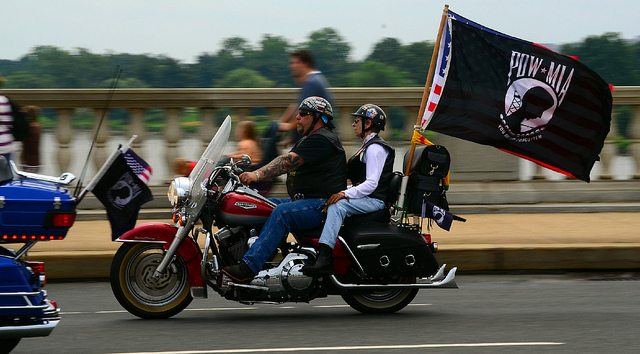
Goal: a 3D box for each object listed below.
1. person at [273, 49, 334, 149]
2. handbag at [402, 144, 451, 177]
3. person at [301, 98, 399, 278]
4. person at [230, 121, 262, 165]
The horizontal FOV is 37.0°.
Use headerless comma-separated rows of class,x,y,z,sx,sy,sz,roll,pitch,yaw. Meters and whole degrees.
person,-0.088,-1.350,17.528,0.945,1.901,1.210,0,0,-24
handbag,1.701,-0.305,15.598,0.629,0.504,0.747,4,3,-13
person,0.618,0.117,15.811,1.811,2.577,1.203,-3,0,8
person,-1.331,-0.639,17.681,0.462,0.919,1.058,1,1,-12
